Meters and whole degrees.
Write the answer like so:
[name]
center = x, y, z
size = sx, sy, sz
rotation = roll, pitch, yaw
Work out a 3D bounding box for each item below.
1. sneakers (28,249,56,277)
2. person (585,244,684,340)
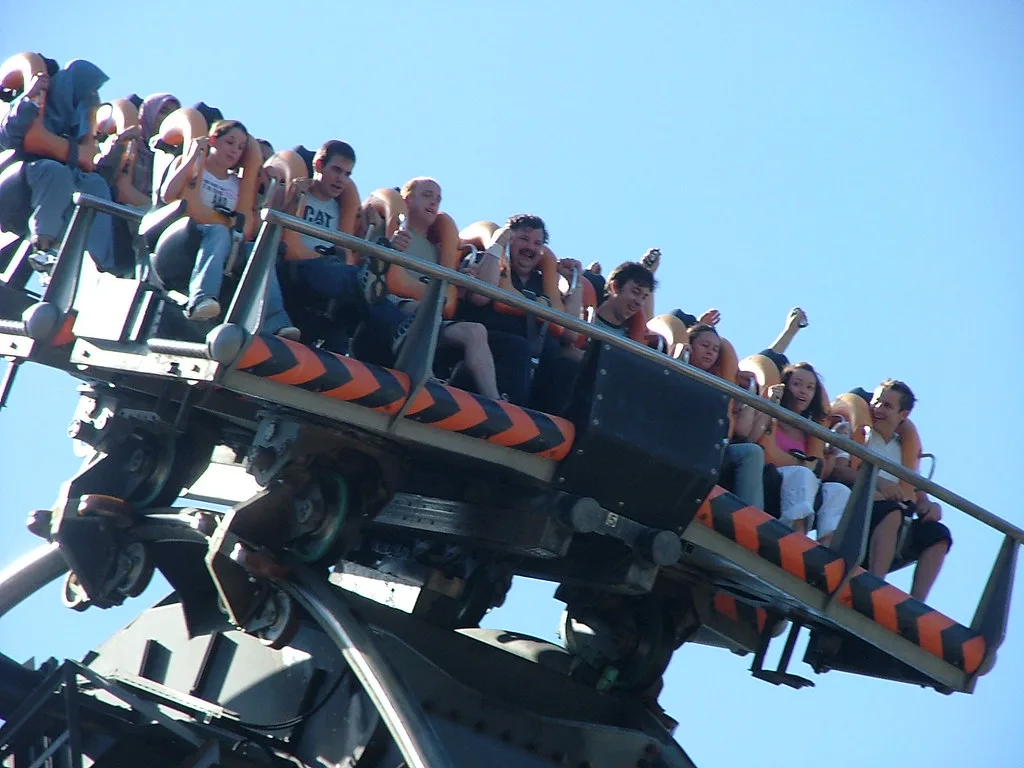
[sneakers]
center = -4.463, -1.172, 13.785
size = 0.213, 0.253, 0.665
rotation = 15, 4, -22
[person]
center = 1.168, -0.839, 14.221
size = 0.674, 0.896, 2.578
rotation = 16, 3, 5
